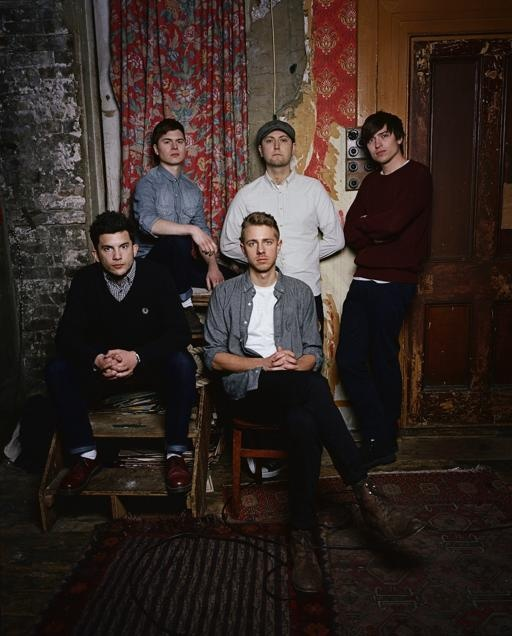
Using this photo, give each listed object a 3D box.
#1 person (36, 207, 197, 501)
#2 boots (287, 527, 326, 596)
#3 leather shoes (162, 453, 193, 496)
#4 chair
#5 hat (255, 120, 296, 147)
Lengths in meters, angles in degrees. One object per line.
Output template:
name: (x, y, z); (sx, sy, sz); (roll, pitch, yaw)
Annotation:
person: (-0.555, 0.113, 2.160); (0.592, 1.087, 0.543); (-3, 9, -7)
boots: (0.164, 0.808, 1.728); (0.097, 0.038, 0.166); (0, 32, -1)
leather shoes: (-0.300, 0.612, 2.053); (0.099, 0.135, 0.116); (-3, 9, -8)
chair: (0.107, 0.341, 1.930); (0.306, 0.657, 0.289); (1, 11, -6)
hat: (0.095, -0.948, 2.650); (0.154, 0.140, 0.164); (-5, 9, -26)
